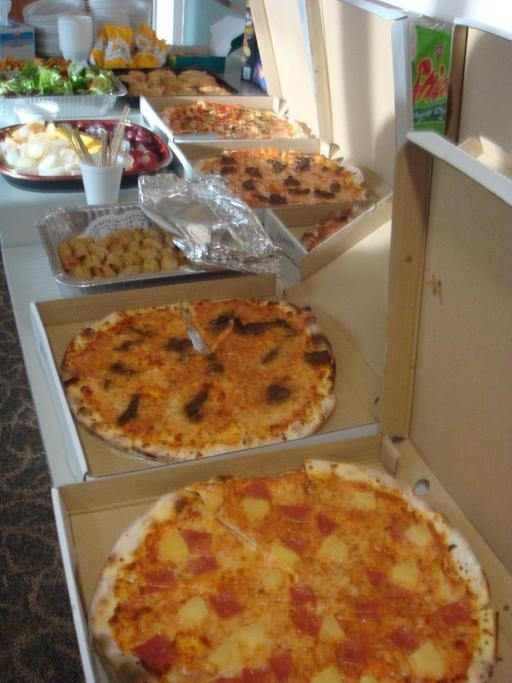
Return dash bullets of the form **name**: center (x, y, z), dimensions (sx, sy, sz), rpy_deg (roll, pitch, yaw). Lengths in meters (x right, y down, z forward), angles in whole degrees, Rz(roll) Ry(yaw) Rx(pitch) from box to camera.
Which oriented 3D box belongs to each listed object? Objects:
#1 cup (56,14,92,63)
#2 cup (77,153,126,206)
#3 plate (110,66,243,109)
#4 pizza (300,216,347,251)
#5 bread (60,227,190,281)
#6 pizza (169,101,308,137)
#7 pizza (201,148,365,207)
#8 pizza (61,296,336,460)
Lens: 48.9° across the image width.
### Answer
- **cup**: center (-0.787, -1.324, 2.480), dimensions (0.152, 0.163, 0.127), rpy_deg (-11, 33, -13)
- **cup**: center (-0.354, -0.371, 1.331), dimensions (0.121, 0.118, 0.120), rpy_deg (4, 34, -3)
- **plate**: center (-0.339, -1.063, 2.324), dimensions (0.452, 0.099, 0.447), rpy_deg (-8, 31, -10)
- **pizza**: center (0.150, -0.236, 1.235), dimensions (0.106, 0.021, 0.102), rpy_deg (-27, 23, 12)
- **bread**: center (-0.282, -0.185, 1.189), dimensions (0.250, 0.053, 0.252), rpy_deg (-13, 33, -18)
- **pizza**: center (-0.076, -0.760, 1.951), dimensions (0.396, 0.039, 0.273), rpy_deg (7, 33, 6)
- **pizza**: center (0.064, -0.465, 1.586), dimensions (0.433, 0.076, 0.432), rpy_deg (-5, 31, -4)
- **pizza**: center (-0.088, 0.040, 0.942), dimensions (0.445, 0.075, 0.399), rpy_deg (-8, 31, -10)
